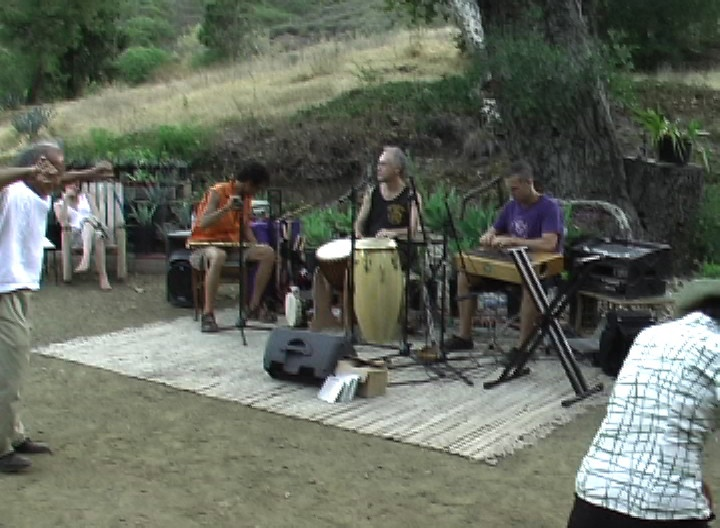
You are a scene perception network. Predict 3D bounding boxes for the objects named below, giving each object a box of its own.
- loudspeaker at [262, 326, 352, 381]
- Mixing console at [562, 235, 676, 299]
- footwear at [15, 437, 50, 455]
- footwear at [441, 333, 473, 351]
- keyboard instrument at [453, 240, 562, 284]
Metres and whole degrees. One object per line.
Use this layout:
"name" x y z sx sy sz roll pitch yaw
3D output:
"loudspeaker" -0.482 0.812 7.349 0.626 0.441 0.848 7 -4 14
"Mixing console" 2.466 0.047 8.072 0.880 0.453 0.746 -3 8 -39
"footwear" -2.163 1.199 5.509 0.135 0.058 0.112 1 -1 -2
"footwear" 0.909 0.736 7.933 0.212 0.088 0.145 -4 6 -35
"keyboard instrument" 1.306 0.014 7.530 0.445 0.177 0.837 -11 13 -29
